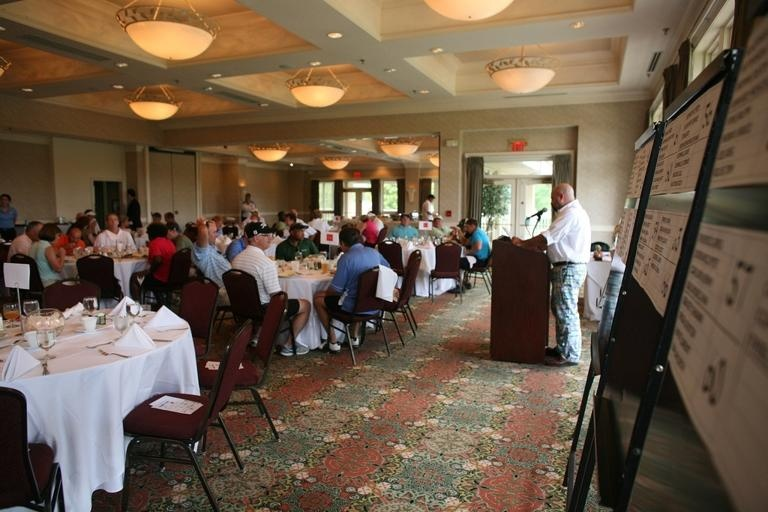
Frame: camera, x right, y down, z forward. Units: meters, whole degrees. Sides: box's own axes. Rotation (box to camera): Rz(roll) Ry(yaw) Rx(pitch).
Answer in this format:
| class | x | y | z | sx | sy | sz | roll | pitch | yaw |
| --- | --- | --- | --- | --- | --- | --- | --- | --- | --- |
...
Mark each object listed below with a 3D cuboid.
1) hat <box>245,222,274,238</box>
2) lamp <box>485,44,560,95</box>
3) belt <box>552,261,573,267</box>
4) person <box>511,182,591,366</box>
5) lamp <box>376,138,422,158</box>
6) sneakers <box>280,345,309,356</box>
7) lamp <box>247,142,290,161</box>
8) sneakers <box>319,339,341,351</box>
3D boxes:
| class | x | y | z | sx | sy | sz | roll | pitch | yaw |
| --- | --- | --- | --- | --- | --- | --- | --- | --- | --- |
| hat | -1.392 | -0.294 | 5.366 | 0.284 | 0.129 | 0.190 | -6 | 12 | -29 |
| lamp | 2.140 | -2.866 | 7.488 | 0.958 | 0.909 | 0.885 | 3 | -10 | -1 |
| belt | 1.806 | 0.079 | 4.867 | 0.191 | 0.068 | 0.038 | 8 | 14 | 38 |
| person | 1.804 | 0.211 | 4.940 | 0.461 | 1.834 | 0.396 | 12 | 17 | 44 |
| lamp | 0.441 | -3.095 | 13.732 | 1.025 | 0.320 | 0.951 | 0 | -2 | 3 |
| sneakers | -1.001 | 1.044 | 5.351 | 0.303 | 0.118 | 0.118 | 1 | -1 | -19 |
| lamp | -3.425 | -3.054 | 14.212 | 0.830 | 0.263 | 0.770 | -1 | -1 | 3 |
| sneakers | -0.627 | 1.018 | 5.490 | 0.236 | 0.095 | 0.112 | 8 | 9 | 30 |
